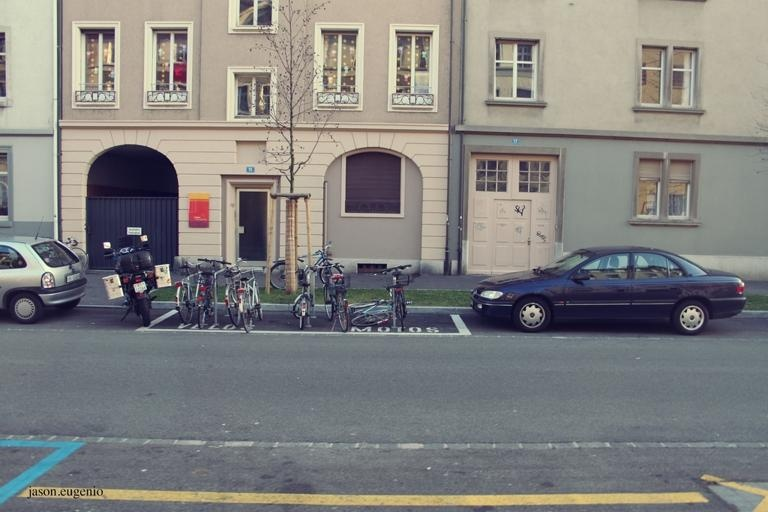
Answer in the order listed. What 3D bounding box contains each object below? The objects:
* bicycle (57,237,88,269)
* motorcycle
[{"bbox_3d":[-8.753,-0.063,38.087,0.695,0.907,0.401,-25,-10,27],"label":"bicycle"},{"bbox_3d":[-6.537,0.608,35.724,1.603,2.294,1.720,0,4,-10],"label":"motorcycle"}]
